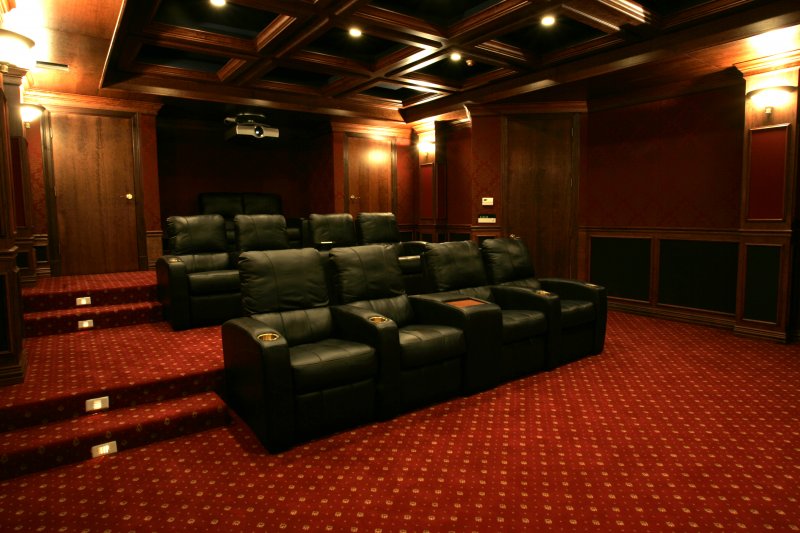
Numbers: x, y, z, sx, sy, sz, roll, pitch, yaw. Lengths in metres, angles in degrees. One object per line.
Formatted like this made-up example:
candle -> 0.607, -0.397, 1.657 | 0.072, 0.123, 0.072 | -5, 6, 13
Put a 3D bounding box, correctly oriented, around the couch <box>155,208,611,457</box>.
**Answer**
couch -> -0.376, 0.294, 6.327 | 3.999, 1.907, 3.654 | -6, 8, -33
